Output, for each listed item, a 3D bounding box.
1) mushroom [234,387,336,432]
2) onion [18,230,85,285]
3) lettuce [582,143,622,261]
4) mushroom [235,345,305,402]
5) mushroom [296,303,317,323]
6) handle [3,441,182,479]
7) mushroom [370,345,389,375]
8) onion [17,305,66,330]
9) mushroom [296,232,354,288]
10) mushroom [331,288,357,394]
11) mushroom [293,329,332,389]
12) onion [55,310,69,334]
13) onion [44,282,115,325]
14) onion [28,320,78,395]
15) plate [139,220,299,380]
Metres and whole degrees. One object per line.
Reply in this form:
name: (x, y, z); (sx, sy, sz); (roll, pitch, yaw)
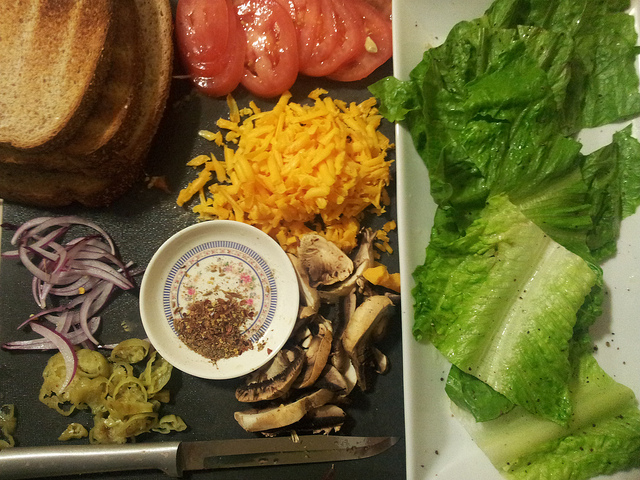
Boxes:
mushroom: (-0.159, 0.691, 2.656); (0.241, 0.205, 0.071); (-30, 82, 25)
onion: (-1.161, 0.106, 2.794); (0.315, 0.049, 0.128); (37, 74, 1)
lettuce: (1.102, -0.159, 2.567); (0.210, 0.082, 0.380); (2, 85, -12)
mushroom: (-0.191, 0.557, 2.700); (0.238, 0.227, 0.090); (-37, 106, 13)
mushroom: (-0.057, 0.305, 2.697); (0.068, 0.032, 0.075); (15, 75, -5)
handle: (-0.903, 0.869, 2.612); (0.614, 0.089, 0.142); (-2, 57, -3)
mushroom: (0.253, 0.507, 2.779); (0.028, 0.077, 0.112); (-31, 83, 15)
onion: (-1.168, 0.315, 2.773); (0.204, 0.026, 0.072); (-26, 79, -37)
mushroom: (0.027, 0.107, 2.718); (0.180, 0.070, 0.246); (-37, 91, -14)
mushroom: (0.093, 0.422, 2.804); (0.107, 0.103, 0.424); (5, 94, 11)
mushroom: (-0.026, 0.490, 2.689); (0.040, 0.145, 0.209); (24, 71, -36)
onion: (-1.090, 0.342, 2.782); (0.031, 0.025, 0.113); (22, 77, -6)
onion: (-0.983, 0.269, 2.629); (0.124, 0.514, 0.077); (12, 101, 2)
onion: (-1.099, 0.455, 2.750); (0.127, 0.053, 0.337); (-25, 82, -14)
plate: (-0.403, 0.238, 2.658); (0.627, 0.167, 0.623); (15, 75, -5)
